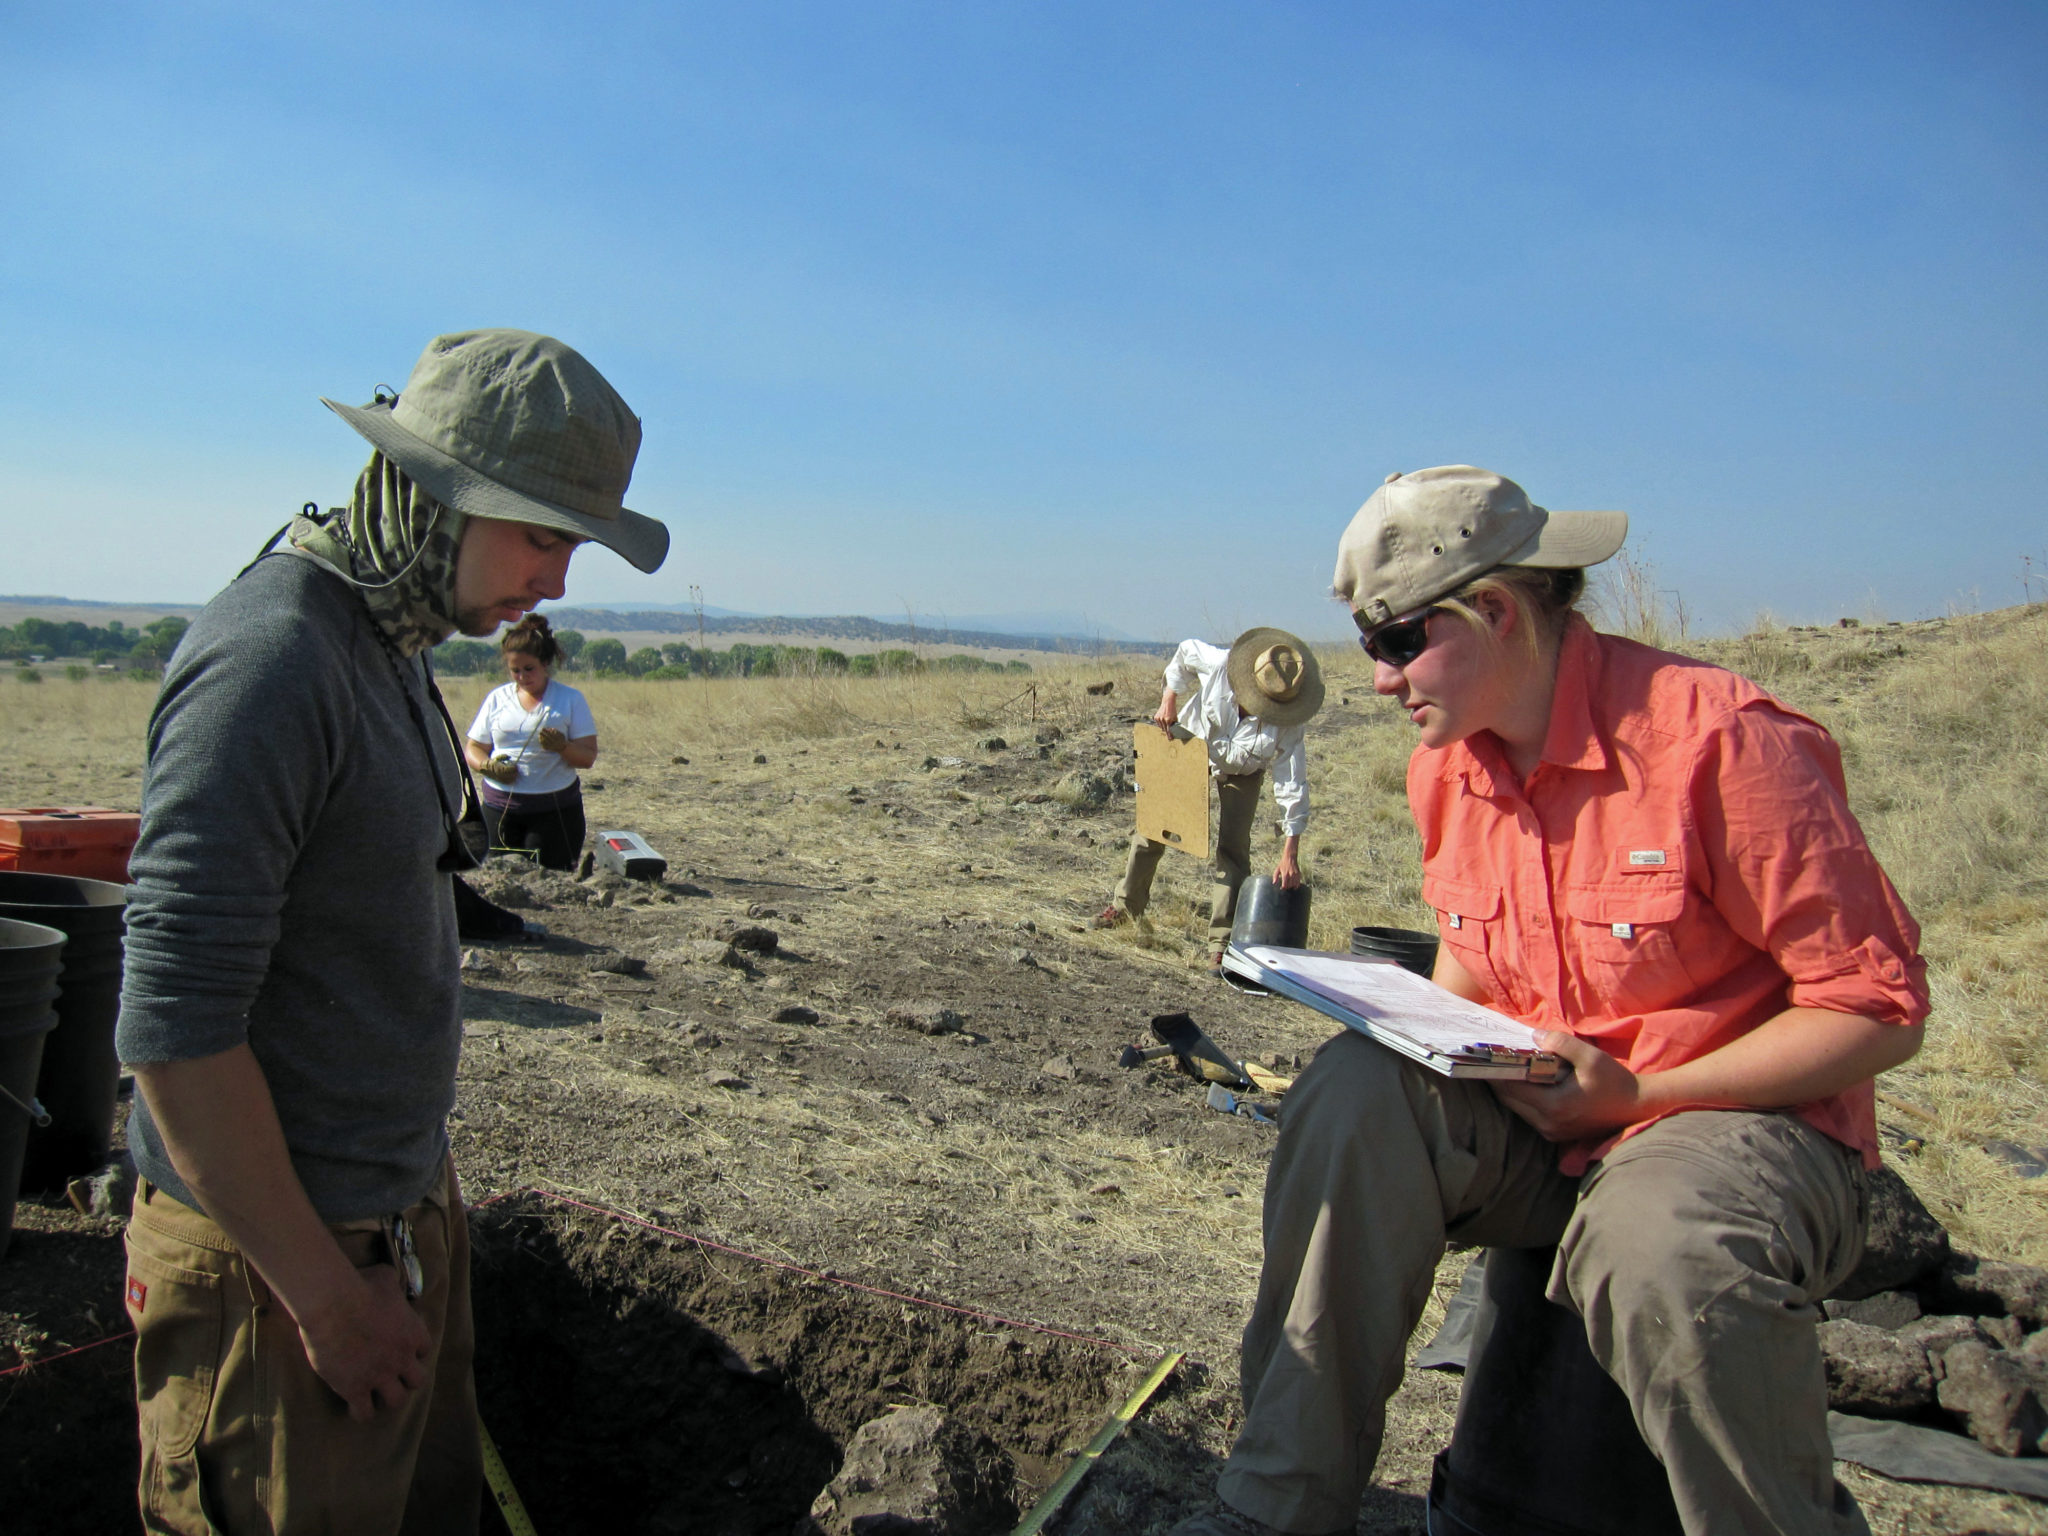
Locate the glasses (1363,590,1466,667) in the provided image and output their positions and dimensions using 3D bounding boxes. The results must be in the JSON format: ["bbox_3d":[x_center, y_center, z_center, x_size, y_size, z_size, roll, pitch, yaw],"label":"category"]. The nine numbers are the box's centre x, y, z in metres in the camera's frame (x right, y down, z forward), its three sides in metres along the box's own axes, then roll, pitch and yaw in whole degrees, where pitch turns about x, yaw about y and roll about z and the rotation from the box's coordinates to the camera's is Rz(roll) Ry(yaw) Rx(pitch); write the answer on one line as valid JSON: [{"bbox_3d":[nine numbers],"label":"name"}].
[{"bbox_3d":[0.887,-0.297,3.295,0.197,0.074,0.188,-36,6,-19],"label":"glasses"}]

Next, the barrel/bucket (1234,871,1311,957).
[{"bbox_3d":[1.323,0.757,7.736,0.376,0.412,0.398,11,-14,3],"label":"barrel/bucket"}]

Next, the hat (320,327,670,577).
[{"bbox_3d":[-1.031,-0.571,2.715,0.640,0.288,0.581,32,8,-13],"label":"hat"}]
